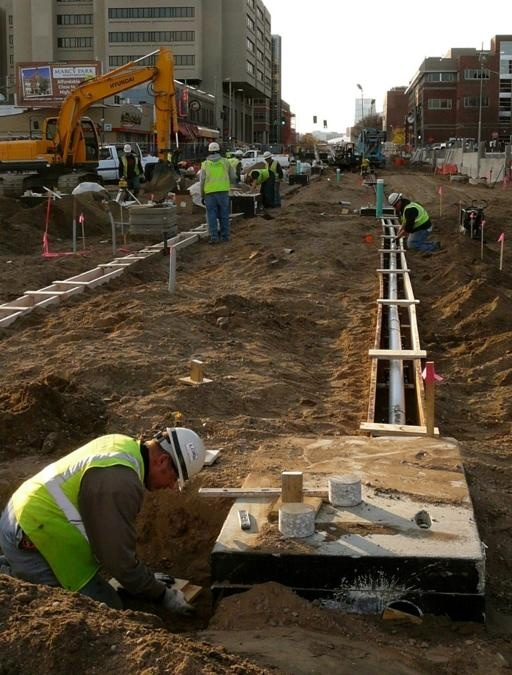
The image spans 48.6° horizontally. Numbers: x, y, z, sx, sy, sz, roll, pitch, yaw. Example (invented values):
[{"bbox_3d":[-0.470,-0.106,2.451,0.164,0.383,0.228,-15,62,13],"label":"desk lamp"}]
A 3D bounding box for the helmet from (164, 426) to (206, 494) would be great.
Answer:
[{"bbox_3d":[-0.296,0.567,2.669,0.230,0.252,0.204,-9,-9,15],"label":"helmet"}]

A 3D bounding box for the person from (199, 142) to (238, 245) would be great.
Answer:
[{"bbox_3d":[-0.893,-3.217,12.877,0.789,2.150,1.172,-1,12,-1],"label":"person"}]

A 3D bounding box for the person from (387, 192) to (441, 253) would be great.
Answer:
[{"bbox_3d":[3.673,-2.630,13.182,1.028,1.294,2.344,3,12,16],"label":"person"}]
